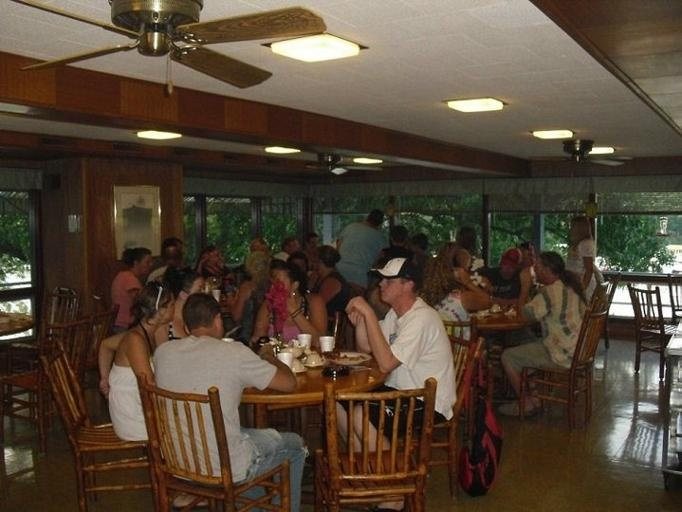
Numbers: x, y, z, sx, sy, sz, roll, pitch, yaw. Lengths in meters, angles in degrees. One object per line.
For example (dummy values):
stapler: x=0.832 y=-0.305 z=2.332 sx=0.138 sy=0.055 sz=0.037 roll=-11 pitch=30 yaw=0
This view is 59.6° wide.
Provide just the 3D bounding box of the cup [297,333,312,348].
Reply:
cup: x=-0.236 y=0.599 z=4.184 sx=0.103 sy=0.077 sz=0.104 roll=0 pitch=-12 yaw=0

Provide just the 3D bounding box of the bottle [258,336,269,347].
bottle: x=-0.498 y=0.563 z=3.845 sx=0.073 sy=0.057 sz=0.048 roll=10 pitch=-9 yaw=-18

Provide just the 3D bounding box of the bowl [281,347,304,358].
bowl: x=-0.314 y=0.645 z=3.978 sx=0.104 sy=0.050 sz=0.106 roll=0 pitch=-6 yaw=0

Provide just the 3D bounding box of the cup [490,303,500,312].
cup: x=1.580 y=0.538 z=6.017 sx=0.079 sy=0.047 sz=0.101 roll=10 pitch=-16 yaw=-34

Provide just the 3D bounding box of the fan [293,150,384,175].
fan: x=0.050 y=-1.179 z=7.496 sx=0.749 sy=0.153 sz=0.680 roll=-2 pitch=3 yaw=-15

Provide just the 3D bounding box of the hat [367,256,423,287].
hat: x=0.353 y=0.098 z=3.739 sx=0.304 sy=0.129 sz=0.194 roll=2 pitch=-4 yaw=-1

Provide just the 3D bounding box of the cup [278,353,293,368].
cup: x=-0.336 y=0.654 z=3.665 sx=0.089 sy=0.091 sz=0.100 roll=-1 pitch=0 yaw=1

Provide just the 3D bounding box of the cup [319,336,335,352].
cup: x=-0.094 y=0.628 z=4.186 sx=0.120 sy=0.084 sz=0.108 roll=-4 pitch=-6 yaw=31

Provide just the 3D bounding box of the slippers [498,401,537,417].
slippers: x=1.617 y=1.403 z=5.410 sx=0.400 sy=0.139 sz=0.141 roll=1 pitch=-1 yaw=0
